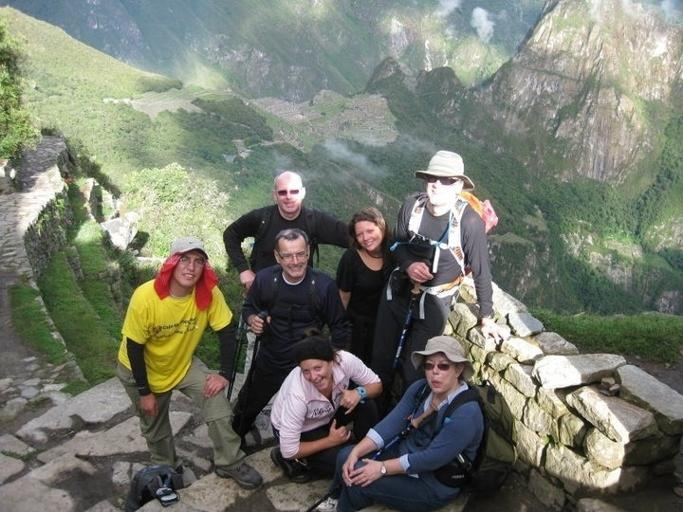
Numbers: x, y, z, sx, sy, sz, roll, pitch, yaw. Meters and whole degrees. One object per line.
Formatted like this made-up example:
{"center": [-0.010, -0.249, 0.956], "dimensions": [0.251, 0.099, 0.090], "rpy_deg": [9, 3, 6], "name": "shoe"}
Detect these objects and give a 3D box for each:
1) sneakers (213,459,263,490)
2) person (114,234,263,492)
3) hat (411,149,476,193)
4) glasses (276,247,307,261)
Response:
{"center": [-1.231, 2.612, 5.509], "dimensions": [0.554, 0.256, 0.274], "rpy_deg": [15, 33, 6], "name": "sneakers"}
{"center": [-1.799, 1.287, 5.513], "dimensions": [1.574, 2.967, 0.629], "rpy_deg": [13, 13, 5], "name": "person"}
{"center": [1.330, -1.110, 5.748], "dimensions": [0.721, 0.430, 0.749], "rpy_deg": [14, 13, 6], "name": "hat"}
{"center": [-0.611, -0.019, 5.509], "dimensions": [0.357, 0.184, 0.095], "rpy_deg": [14, 13, 6], "name": "glasses"}
